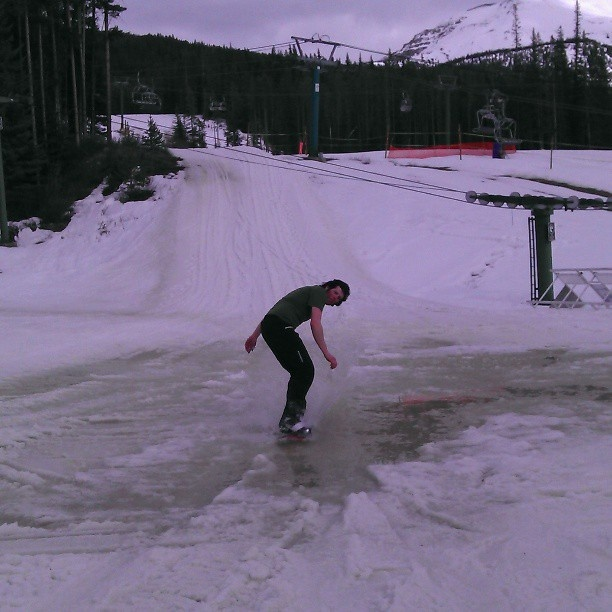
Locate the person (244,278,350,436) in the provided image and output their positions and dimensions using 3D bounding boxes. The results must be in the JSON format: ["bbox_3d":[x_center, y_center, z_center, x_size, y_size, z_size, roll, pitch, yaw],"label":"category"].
[{"bbox_3d":[-0.034,0.493,7.452,0.780,1.406,0.629,-2,10,-4],"label":"person"}]
